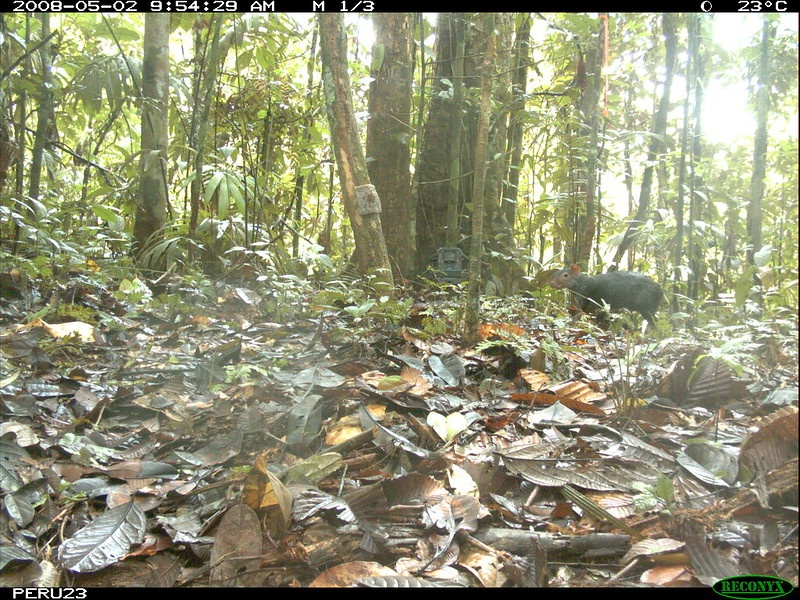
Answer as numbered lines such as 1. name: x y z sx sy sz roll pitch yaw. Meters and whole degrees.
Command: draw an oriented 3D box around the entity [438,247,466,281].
1. entity: 0.432 -0.294 5.399 0.250 0.295 0.196 4 5 2
